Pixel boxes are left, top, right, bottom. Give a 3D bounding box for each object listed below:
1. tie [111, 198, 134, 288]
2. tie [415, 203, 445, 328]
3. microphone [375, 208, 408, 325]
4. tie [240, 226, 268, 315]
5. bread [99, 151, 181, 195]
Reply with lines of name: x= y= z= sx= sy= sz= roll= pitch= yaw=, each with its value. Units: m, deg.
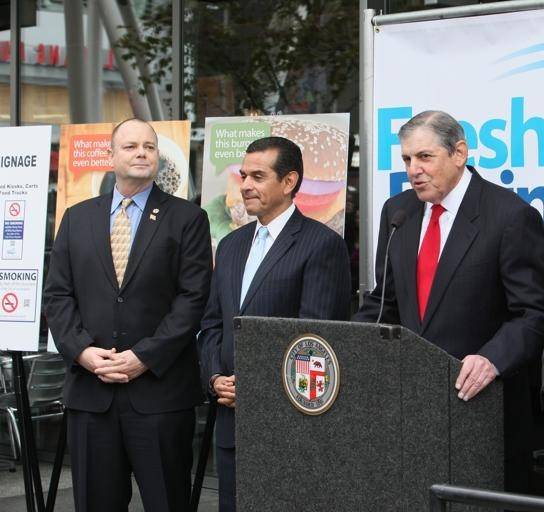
tie: x=-0.636 y=-0.058 z=2.875 sx=0.103 sy=0.338 sz=0.117 roll=-8 pitch=16 yaw=-44
tie: x=0.527 y=0.017 z=2.202 sx=0.034 sy=0.417 sz=0.073 roll=22 pitch=-19 yaw=-30
microphone: x=0.371 y=0.015 z=2.168 sx=0.098 sy=0.423 sz=0.129 roll=6 pitch=15 yaw=22
tie: x=-0.077 y=0.056 z=2.553 sx=0.097 sy=0.301 sz=0.108 roll=-4 pitch=14 yaw=-27
bread: x=-0.681 y=-0.433 z=3.493 sx=0.277 sy=0.282 sz=0.238 roll=9 pitch=15 yaw=23
